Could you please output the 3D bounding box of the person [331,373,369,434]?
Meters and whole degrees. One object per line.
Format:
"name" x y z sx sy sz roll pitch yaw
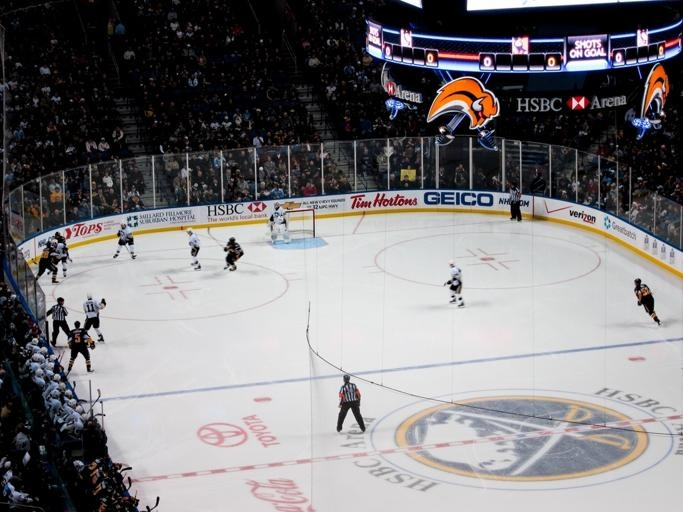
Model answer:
"person" 0.230 3.371 19.091 0.706 1.599 1.154 -1 10 -1

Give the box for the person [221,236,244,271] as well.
"person" -4.137 -0.153 31.015 0.634 1.292 1.450 -2 10 -8

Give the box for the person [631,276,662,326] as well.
"person" 9.221 1.296 24.582 0.710 1.705 0.481 -32 8 -26

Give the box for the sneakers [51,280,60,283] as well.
"sneakers" -10.385 0.902 29.395 0.215 0.146 0.072 -5 22 -19

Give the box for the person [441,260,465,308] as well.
"person" 3.747 1.000 27.127 0.664 1.370 0.631 -9 53 2

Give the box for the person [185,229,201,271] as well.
"person" -5.875 -0.182 31.982 0.628 1.772 1.212 3 20 4

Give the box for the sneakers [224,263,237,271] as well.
"sneakers" -4.224 0.419 30.928 0.334 0.156 0.235 2 14 -8

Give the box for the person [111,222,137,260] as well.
"person" -8.892 -0.561 32.920 0.885 1.496 0.875 20 38 11
